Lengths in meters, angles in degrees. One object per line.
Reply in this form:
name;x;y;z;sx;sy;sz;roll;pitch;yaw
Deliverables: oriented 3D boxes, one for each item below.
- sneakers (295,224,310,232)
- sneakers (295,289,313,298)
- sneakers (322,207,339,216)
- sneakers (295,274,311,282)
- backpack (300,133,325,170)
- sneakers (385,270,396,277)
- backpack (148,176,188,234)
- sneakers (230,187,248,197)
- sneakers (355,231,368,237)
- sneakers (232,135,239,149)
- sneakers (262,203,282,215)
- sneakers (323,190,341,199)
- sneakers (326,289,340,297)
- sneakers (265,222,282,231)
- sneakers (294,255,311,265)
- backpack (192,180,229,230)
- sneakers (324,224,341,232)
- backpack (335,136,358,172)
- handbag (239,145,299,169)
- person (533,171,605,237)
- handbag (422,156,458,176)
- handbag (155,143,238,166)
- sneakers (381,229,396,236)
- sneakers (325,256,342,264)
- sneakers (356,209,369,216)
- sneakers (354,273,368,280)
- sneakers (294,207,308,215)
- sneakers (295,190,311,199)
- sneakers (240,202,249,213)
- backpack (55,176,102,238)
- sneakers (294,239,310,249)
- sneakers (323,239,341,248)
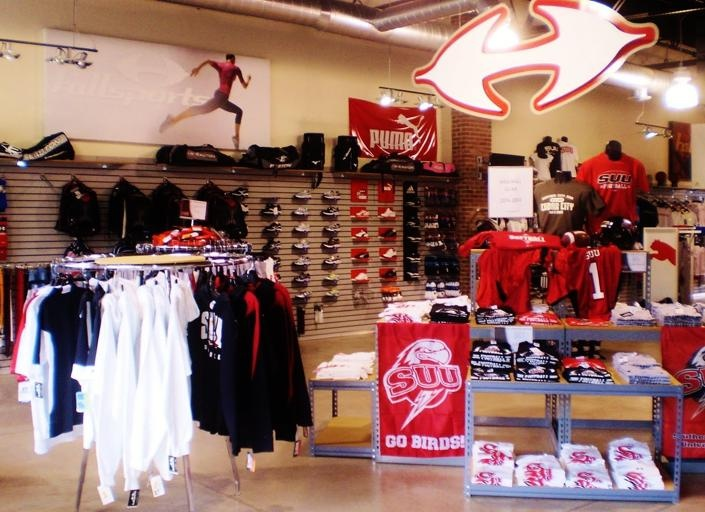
sneakers;-0.818;-0.447;9.176;0.114;0.098;0.189;-4;-8;35
sneakers;-0.791;0.616;9.198;0.263;0.103;0.099;3;-2;-24
sneakers;-0.375;-0.744;9.418;0.335;0.160;0.120;3;5;-7
sneakers;-0.811;0.362;9.155;0.281;0.118;0.103;3;-2;-18
backpack;-0.661;-1.705;9.202;0.434;0.607;0.347;-2;7;-8
sneakers;0.683;0.316;10.038;0.280;0.152;0.050;-6;9;-35
backpack;-2.647;-0.717;7.902;0.515;0.711;0.254;4;-5;-26
sneakers;-1.728;-0.989;8.641;0.368;0.182;0.190;-6;9;-35
sneakers;0.157;-0.374;9.812;0.226;0.101;0.083;-1;0;-16
sneakers;-1.834;-1.793;8.836;0.070;0.199;0.083;-10;-6;-25
sneakers;-1.276;-0.735;8.851;0.360;0.171;0.121;2;-1;-1
sneakers;-0.348;-1.029;9.491;0.321;0.136;0.116;4;-8;-27
sneakers;-0.316;0.628;9.507;0.239;0.101;0.087;4;-2;-18
sneakers;-1.264;-0.465;8.971;0.303;0.143;0.182;-3;8;-18
sneakers;-0.852;0.087;9.164;0.315;0.139;0.106;2;2;-24
backpack;-2.115;-0.755;8.309;0.206;0.669;0.470;-9;-6;38
sneakers;-0.342;-0.479;9.437;0.281;0.119;0.100;4;-2;-24
backpack;-0.094;-1.713;9.394;0.413;0.587;0.233;-2;7;-8
handbag;-1.299;-1.484;8.763;0.627;0.244;0.440;0;6;-27
person;2.318;-0.497;6.222;0.882;0.870;0.318;10;17;42
handbag;1.568;-1.638;10.188;0.512;0.165;0.313;4;4;30
handbag;-2.317;-1.431;8.182;0.701;0.209;0.437;0;1;-31
sneakers;0.641;-0.424;10.014;0.335;0.151;0.071;-5;9;-32
sneakers;-0.358;0.079;9.451;0.234;0.151;0.130;-1;7;-3
sneakers;0.179;-0.759;9.768;0.229;0.102;0.083;2;0;-23
sneakers;0.155;0.364;9.814;0.234;0.098;0.098;-2;-21;-40
sneakers;-0.829;-0.736;9.167;0.265;0.117;0.095;3;-1;-27
sneakers;-0.813;-0.992;9.232;0.301;0.144;0.100;2;-28;-30
sneakers;-1.645;-0.743;8.571;0.110;0.127;0.144;-1;6;-19
backpack;-3.714;-0.632;7.571;0.535;0.793;0.228;-4;8;-25
sneakers;-0.825;-0.185;9.174;0.309;0.140;0.103;3;11;-17
sneakers;-0.355;-0.201;9.515;0.327;0.166;0.116;3;1;-23
